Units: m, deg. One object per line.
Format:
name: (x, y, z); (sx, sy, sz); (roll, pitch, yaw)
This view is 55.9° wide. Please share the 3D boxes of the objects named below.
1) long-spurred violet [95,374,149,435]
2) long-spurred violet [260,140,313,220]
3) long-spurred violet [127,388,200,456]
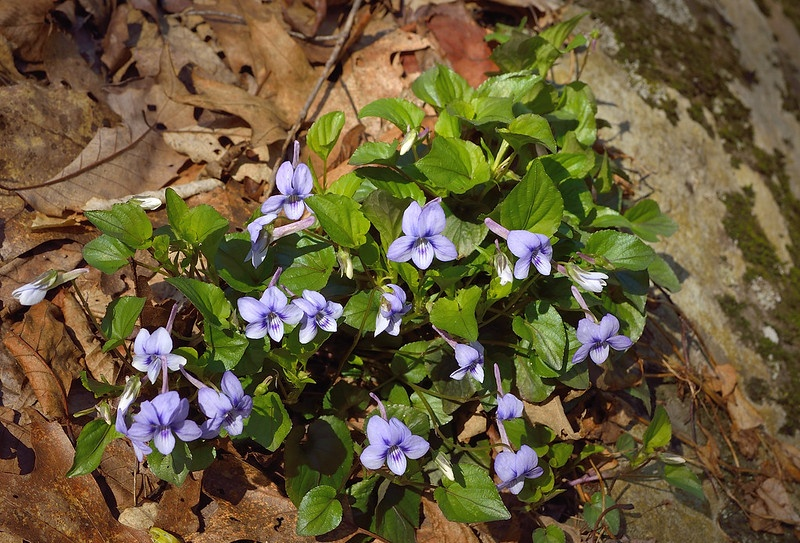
long-spurred violet: (-1.628, 0.782, 4.515); (0.202, 0.156, 0.479); (47, -32, 7)
long-spurred violet: (-0.658, -0.614, 4.708); (0.261, 0.531, 0.132); (8, 11, -12)
long-spurred violet: (-1.369, 0.865, 4.313); (0.362, 0.389, 0.136); (2, 12, -2)
